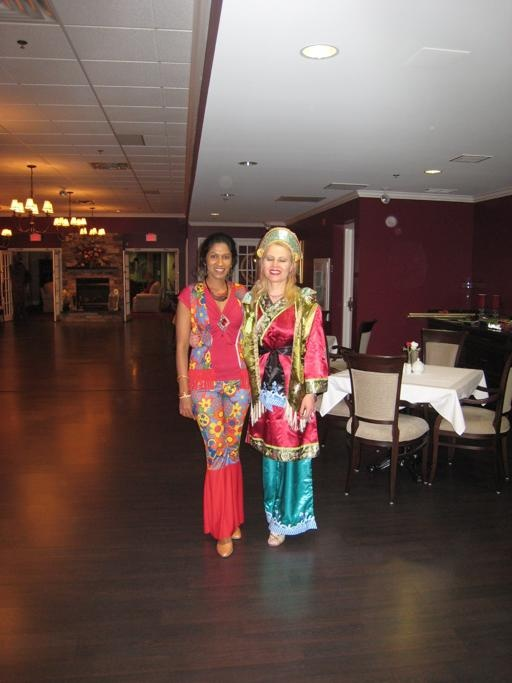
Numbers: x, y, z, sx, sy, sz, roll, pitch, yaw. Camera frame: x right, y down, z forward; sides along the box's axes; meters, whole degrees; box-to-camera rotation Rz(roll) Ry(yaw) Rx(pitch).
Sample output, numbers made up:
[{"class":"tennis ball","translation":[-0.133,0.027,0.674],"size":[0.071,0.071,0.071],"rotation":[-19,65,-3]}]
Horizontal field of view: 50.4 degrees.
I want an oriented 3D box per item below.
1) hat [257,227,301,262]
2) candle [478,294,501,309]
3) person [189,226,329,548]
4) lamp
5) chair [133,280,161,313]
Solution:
[{"class":"hat","translation":[0.147,-0.489,2.659],"size":[0.202,0.173,0.053],"rotation":[-12,11,20]},{"class":"candle","translation":[3.285,-0.570,7.617],"size":[0.263,0.210,0.098],"rotation":[-2,4,0]},{"class":"person","translation":[0.126,0.260,2.642],"size":[0.401,1.603,0.223],"rotation":[1,7,-2]},{"class":"lamp","translation":[-5.465,-3.212,14.179],"size":[2.520,1.496,2.401],"rotation":[7,15,14]},{"class":"chair","translation":[-3.731,-1.520,18.581],"size":[0.923,1.073,0.971],"rotation":[0,7,-10]}]
